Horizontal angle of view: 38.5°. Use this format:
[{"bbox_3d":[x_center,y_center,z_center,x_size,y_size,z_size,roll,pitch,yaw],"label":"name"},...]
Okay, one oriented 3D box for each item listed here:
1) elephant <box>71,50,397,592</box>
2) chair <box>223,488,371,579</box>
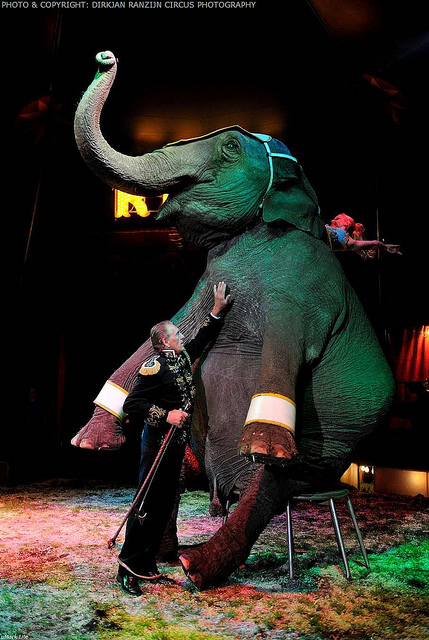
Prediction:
[{"bbox_3d":[0.100,-0.033,2.173,0.876,1.766,0.812,-3,-8,26],"label":"elephant"},{"bbox_3d":[0.413,0.801,2.428,0.413,0.189,0.365,4,-16,-25],"label":"chair"}]
